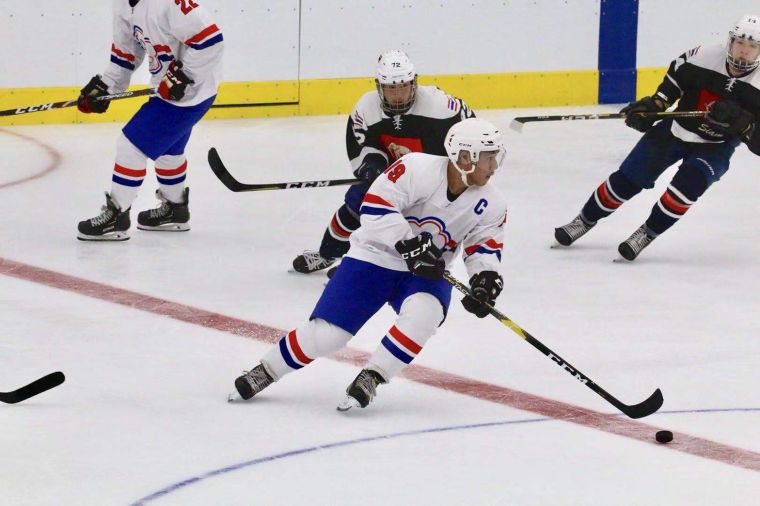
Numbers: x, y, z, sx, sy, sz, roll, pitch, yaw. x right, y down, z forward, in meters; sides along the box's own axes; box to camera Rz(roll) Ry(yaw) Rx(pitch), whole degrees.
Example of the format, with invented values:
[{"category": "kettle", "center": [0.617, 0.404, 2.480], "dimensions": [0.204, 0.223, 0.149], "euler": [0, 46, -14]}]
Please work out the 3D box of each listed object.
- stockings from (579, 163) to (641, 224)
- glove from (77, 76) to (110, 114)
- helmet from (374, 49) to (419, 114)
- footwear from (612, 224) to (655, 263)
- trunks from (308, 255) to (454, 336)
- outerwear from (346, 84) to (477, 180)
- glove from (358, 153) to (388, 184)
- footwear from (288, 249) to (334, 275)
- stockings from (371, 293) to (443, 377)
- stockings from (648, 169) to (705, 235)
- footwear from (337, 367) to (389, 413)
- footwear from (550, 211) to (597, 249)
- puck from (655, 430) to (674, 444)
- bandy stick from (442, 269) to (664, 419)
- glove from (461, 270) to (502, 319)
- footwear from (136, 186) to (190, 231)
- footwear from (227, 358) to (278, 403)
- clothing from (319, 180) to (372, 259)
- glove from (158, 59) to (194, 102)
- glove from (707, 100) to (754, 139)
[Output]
[{"category": "stockings", "center": [1.444, -0.353, 5.282], "dimensions": [0.225, 0.404, 0.150], "euler": [54, 19, 23]}, {"category": "glove", "center": [-1.854, -1.005, 5.367], "dimensions": [0.097, 0.224, 0.218], "euler": [40, 17, -44]}, {"category": "helmet", "center": [0.075, -0.884, 4.253], "dimensions": [0.219, 0.281, 0.293], "euler": [-4, 29, 0]}, {"category": "footwear", "center": [1.534, -0.054, 5.111], "dimensions": [0.125, 0.149, 0.359], "euler": [36, 57, 22]}, {"category": "trunks", "center": [-0.057, 0.159, 3.444], "dimensions": [0.412, 0.155, 0.391], "euler": [9, 23, 6]}, {"category": "outerwear", "center": [0.158, -0.640, 4.433], "dimensions": [0.726, 0.520, 0.385], "euler": [0, 41, 11]}, {"category": "glove", "center": [-0.043, -0.452, 4.360], "dimensions": [0.154, 0.155, 0.057], "euler": [36, -6, 38]}, {"category": "footwear", "center": [-0.389, 0.048, 4.804], "dimensions": [0.271, 0.104, 0.105], "euler": [-7, -1, -18]}, {"category": "stockings", "center": [0.117, 0.338, 3.455], "dimensions": [0.195, 0.392, 0.160], "euler": [47, 7, 22]}, {"category": "stockings", "center": [1.911, -0.311, 5.343], "dimensions": [0.162, 0.530, 0.204], "euler": [42, 30, -3]}, {"category": "footwear", "center": [-0.047, 0.528, 3.415], "dimensions": [0.096, 0.123, 0.284], "euler": [45, 33, -2]}, {"category": "footwear", "center": [1.225, -0.136, 5.369], "dimensions": [0.377, 0.144, 0.126], "euler": [-35, 79, -23]}, {"category": "puck", "center": [1.079, 0.698, 3.166], "dimensions": [0.053, 0.027, 0.050], "euler": [-7, 7, -37]}, {"category": "bandy stick", "center": [0.757, 0.406, 3.767], "dimensions": [0.221, 0.027, 1.379], "euler": [-36, 29, -13]}, {"category": "glove", "center": [0.438, 0.171, 3.551], "dimensions": [0.137, 0.216, 0.087], "euler": [40, 16, 7]}, {"category": "footwear", "center": [-1.414, -0.289, 5.436], "dimensions": [0.339, 0.285, 0.121], "euler": [-2, 25, -15]}, {"category": "footwear", "center": [-0.520, 0.527, 3.437], "dimensions": [0.200, 0.082, 0.114], "euler": [-31, 87, -16]}, {"category": "clothing", "center": [-0.172, -0.183, 4.651], "dimensions": [0.100, 0.312, 0.086], "euler": [25, 8, -14]}, {"category": "glove", "center": [-1.234, -1.022, 4.994], "dimensions": [0.219, 0.219, 0.088], "euler": [47, 25, 28]}, {"category": "glove", "center": [2.044, -0.781, 4.860], "dimensions": [0.183, 0.111, 0.242], "euler": [45, -19, -32]}]
